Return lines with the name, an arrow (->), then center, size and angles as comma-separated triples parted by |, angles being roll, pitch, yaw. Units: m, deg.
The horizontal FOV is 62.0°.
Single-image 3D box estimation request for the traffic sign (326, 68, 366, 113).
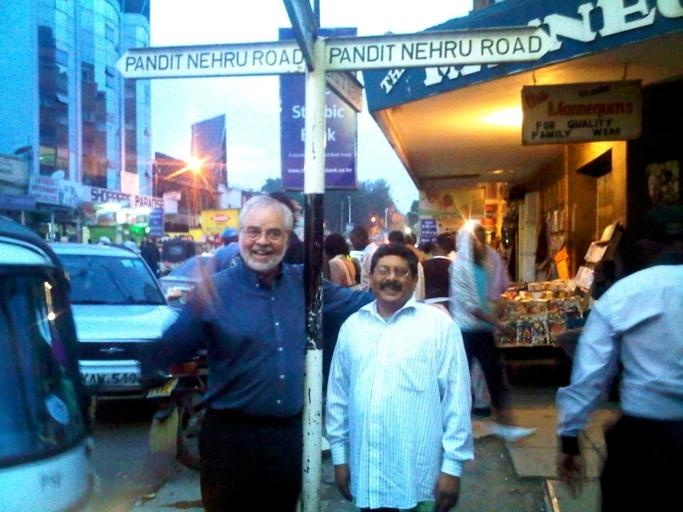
traffic sign -> 0.044, -1.106, 3.772 | 0.160, 0.230, 0.719 | 0, 5, 15
